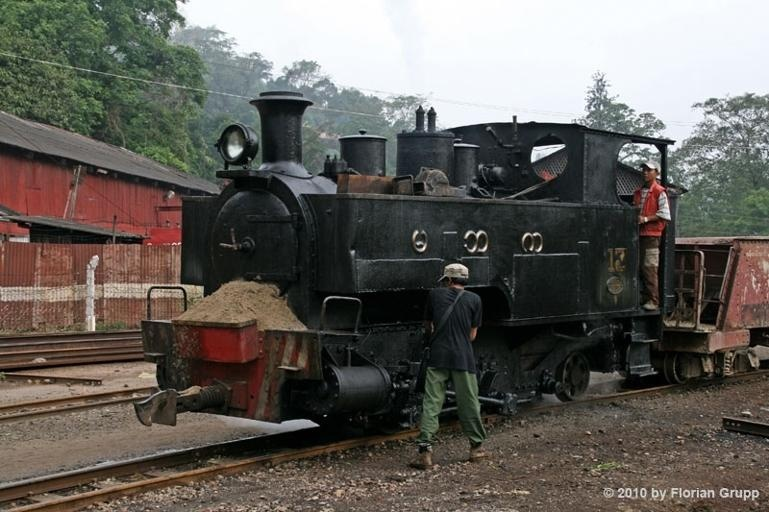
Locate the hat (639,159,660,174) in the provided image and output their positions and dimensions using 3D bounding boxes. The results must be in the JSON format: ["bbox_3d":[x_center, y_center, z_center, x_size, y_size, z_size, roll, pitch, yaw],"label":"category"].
[{"bbox_3d":[4.503,-1.472,11.587,0.229,0.177,0.343,-1,-21,41],"label":"hat"}]

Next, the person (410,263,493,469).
[{"bbox_3d":[0.841,1.344,8.655,0.926,2.456,0.621,0,5,-9],"label":"person"}]

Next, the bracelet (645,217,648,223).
[{"bbox_3d":[4.383,-0.598,11.474,0.080,0.068,0.129,1,10,17],"label":"bracelet"}]
